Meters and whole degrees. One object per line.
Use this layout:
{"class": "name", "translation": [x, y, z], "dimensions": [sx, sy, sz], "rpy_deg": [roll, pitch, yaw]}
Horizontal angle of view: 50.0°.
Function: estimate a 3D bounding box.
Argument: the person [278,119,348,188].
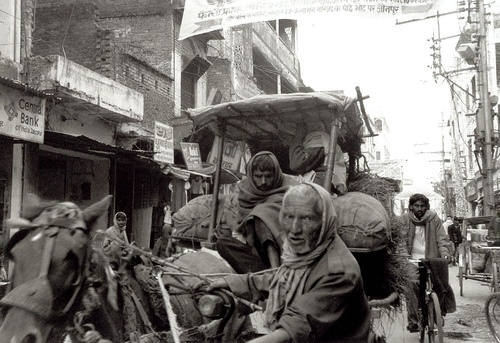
{"class": "person", "translation": [0.927, -0.243, 7.709], "dimensions": [0.767, 1.218, 1.228], "rpy_deg": [-1, -15, 17]}
